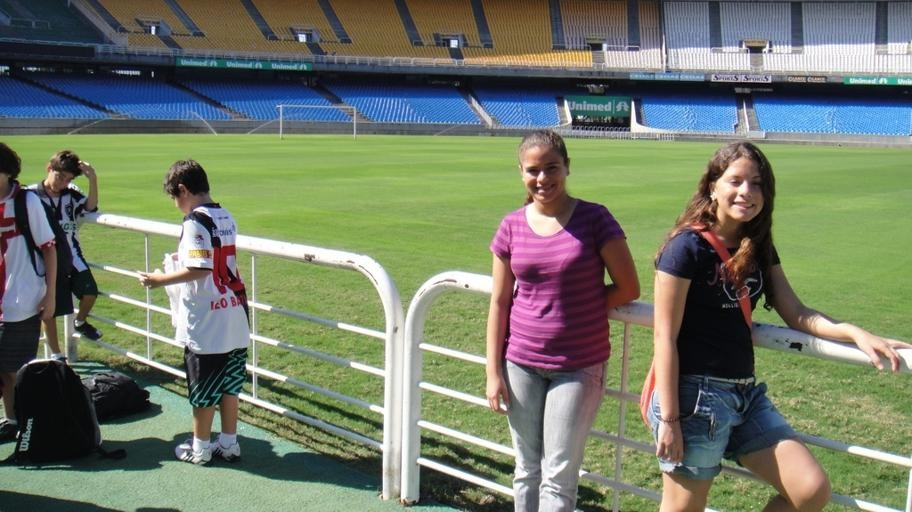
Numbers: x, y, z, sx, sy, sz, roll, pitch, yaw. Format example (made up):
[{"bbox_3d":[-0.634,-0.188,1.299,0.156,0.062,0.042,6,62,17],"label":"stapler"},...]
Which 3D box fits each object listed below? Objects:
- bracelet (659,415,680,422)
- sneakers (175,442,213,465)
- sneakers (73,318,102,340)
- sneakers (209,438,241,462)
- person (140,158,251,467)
[{"bbox_3d":[1.160,0.888,3.198,0.062,0.014,0.057,0,-1,-3],"label":"bracelet"},{"bbox_3d":[-1.960,1.487,4.424,0.290,0.108,0.112,10,-11,12],"label":"sneakers"},{"bbox_3d":[-3.772,0.771,6.000,0.324,0.114,0.163,19,26,15],"label":"sneakers"},{"bbox_3d":[-1.738,1.467,4.454,0.267,0.106,0.121,6,0,25],"label":"sneakers"},{"bbox_3d":[-1.884,0.419,4.365,0.624,2.227,0.446,-4,11,-16],"label":"person"}]
